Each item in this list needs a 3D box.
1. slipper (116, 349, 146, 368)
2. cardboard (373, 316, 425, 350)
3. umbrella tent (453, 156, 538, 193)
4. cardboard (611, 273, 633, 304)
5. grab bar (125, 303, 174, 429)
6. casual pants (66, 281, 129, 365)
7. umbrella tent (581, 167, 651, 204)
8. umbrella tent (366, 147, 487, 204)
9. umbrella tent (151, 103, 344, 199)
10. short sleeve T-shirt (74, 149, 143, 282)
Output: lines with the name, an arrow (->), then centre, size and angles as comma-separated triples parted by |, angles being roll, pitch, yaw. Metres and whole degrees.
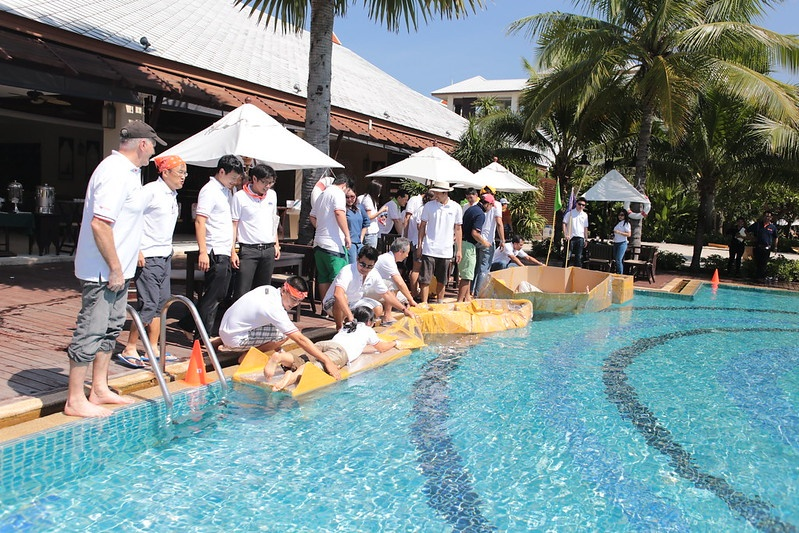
slipper -> -3.297, 1.171, 6.266 | 0.432, 0.143, 0.186 | 15, 19, 28
cardboard -> 0.047, 1.114, 8.169 | 0.611, 0.234, 0.472 | -13, 40, -43
umbrella tent -> 2.584, -2.248, 13.124 | 1.503, 0.654, 1.528 | -3, 6, -27
cardboard -> 5.362, 0.539, 12.497 | 0.657, 0.703, 0.670 | 2, 3, 44
grab bar -> -2.865, 1.180, 5.825 | 0.296, 1.349, 0.108 | -12, 6, 18
casual pants -> -3.016, 0.579, 5.116 | 0.272, 0.860, 0.611 | 10, 15, 27
umbrella tent -> 6.550, -2.225, 15.532 | 1.336, 0.719, 1.383 | 2, 5, 37
umbrella tent -> 0.853, -2.161, 11.393 | 1.675, 0.893, 1.734 | 12, 11, 33
umbrella tent -> -2.269, -1.804, 8.213 | 1.765, 0.940, 1.830 | 2, 5, 35
short sleeve T-shirt -> -2.889, -0.489, 5.080 | 0.656, 1.288, 0.485 | -6, 16, -34
